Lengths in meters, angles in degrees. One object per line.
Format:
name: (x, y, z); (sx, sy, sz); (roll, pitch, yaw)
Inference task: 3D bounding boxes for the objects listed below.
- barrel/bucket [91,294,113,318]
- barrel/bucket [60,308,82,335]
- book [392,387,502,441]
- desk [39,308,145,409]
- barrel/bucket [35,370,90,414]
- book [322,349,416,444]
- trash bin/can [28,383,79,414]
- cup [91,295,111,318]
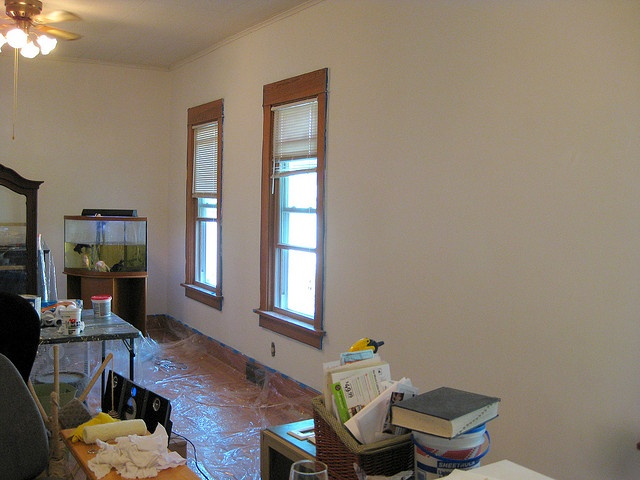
barrel/bucket: (-1.693, 0.502, 4.069); (0.164, 0.169, 0.162); (2, -1, 0)
barrel/bucket: (-1.675, 0.539, 3.534); (0.156, 0.210, 0.169); (-1, -5, 0)
book: (0.410, 0.591, 1.777); (0.326, 0.130, 0.240); (4, 12, 31)
desk: (-1.613, 0.747, 3.674); (0.513, 0.368, 0.688); (1, 1, -23)
barrel/bucket: (-1.957, 1.102, 4.007); (0.379, 0.291, 0.361); (0, 0, 0)
book: (0.145, 0.556, 1.879); (0.227, 0.103, 0.303); (-8, 36, -13)
trash bin/can: (-2.055, 1.177, 3.935); (0.159, 0.125, 0.227); (4, -41, -21)
cup: (-1.652, 0.501, 4.054); (0.158, 0.157, 0.159); (2, -1, 0)
